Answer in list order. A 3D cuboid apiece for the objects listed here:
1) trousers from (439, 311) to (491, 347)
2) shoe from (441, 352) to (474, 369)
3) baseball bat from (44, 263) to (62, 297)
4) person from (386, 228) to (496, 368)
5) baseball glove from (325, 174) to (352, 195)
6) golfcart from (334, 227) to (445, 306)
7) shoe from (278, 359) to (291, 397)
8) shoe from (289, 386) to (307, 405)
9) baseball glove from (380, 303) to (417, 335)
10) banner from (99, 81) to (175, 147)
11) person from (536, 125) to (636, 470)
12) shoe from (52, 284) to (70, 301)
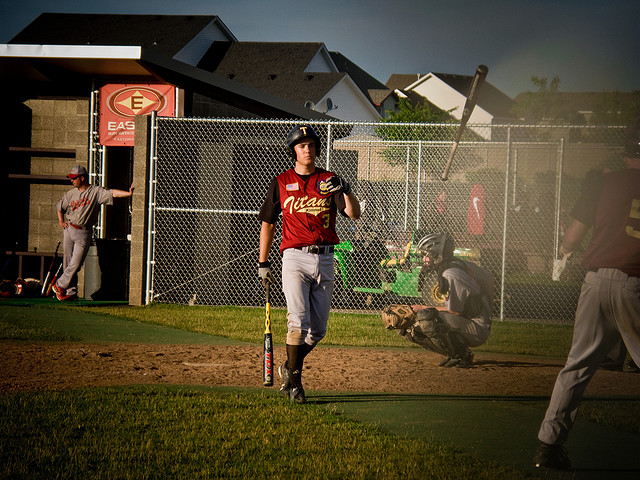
[{"bbox_3d":[1.849,1.124,10.924,0.736,0.453,0.608,4,7,-1],"label":"trousers"},{"bbox_3d":[1.797,1.566,10.754,0.351,0.220,0.182,-6,1,2],"label":"shoe"},{"bbox_3d":[-4.981,0.767,15.573,0.091,0.653,0.072,21,-13,18],"label":"baseball bat"},{"bbox_3d":[1.606,0.825,11.037,1.316,1.643,1.198,4,10,10],"label":"person"},{"bbox_3d":[0.226,-0.624,9.391,0.219,0.211,0.333,9,12,35],"label":"baseball glove"},{"bbox_3d":[1.124,0.367,14.826,1.195,1.295,2.366,-2,11,-24],"label":"golfcart"},{"bbox_3d":[-0.406,1.599,9.621,0.155,0.377,0.126,-1,8,30],"label":"shoe"},{"bbox_3d":[-0.245,1.768,9.419,0.210,0.213,0.128,7,-9,-21],"label":"shoe"},{"bbox_3d":[1.055,0.967,10.856,0.429,0.459,0.472,-6,-22,24],"label":"baseball glove"},{"bbox_3d":[-3.521,-2.448,16.054,1.495,1.292,0.055,1,-6,8],"label":"banner"},{"bbox_3d":[2.680,0.774,8.258,0.867,2.926,0.605,2,10,0],"label":"person"},{"bbox_3d":[-4.518,0.973,14.572,0.199,0.446,0.161,-16,-16,-2],"label":"shoe"}]
